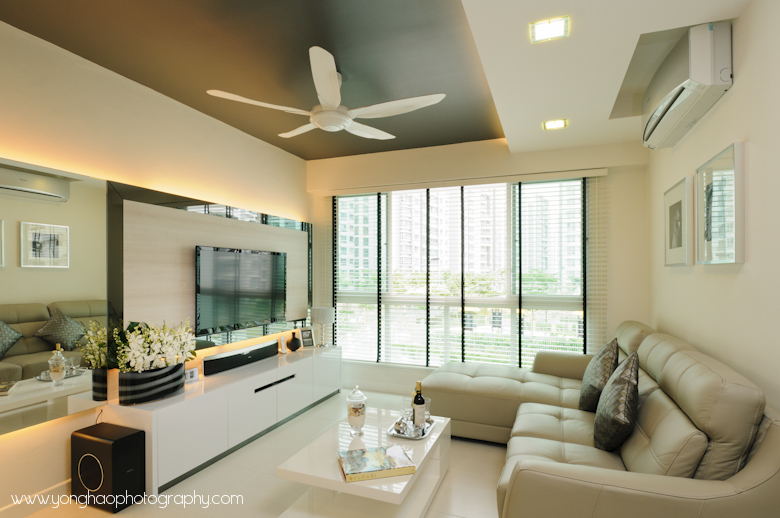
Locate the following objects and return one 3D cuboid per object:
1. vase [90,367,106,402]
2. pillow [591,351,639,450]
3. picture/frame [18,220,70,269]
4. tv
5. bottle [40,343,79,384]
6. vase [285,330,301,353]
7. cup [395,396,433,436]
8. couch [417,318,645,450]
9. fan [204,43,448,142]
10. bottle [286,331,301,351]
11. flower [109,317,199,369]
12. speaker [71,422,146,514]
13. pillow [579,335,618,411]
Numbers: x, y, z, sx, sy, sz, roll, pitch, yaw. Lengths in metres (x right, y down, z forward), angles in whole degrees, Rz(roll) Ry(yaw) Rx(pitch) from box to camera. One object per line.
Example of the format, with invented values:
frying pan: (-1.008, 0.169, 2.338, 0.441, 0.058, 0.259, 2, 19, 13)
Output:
vase: (-2.407, 1.051, 4.454, 0.160, 0.267, 0.160, -3, -6, 24)
pillow: (1.743, 1.120, 4.100, 0.220, 0.402, 0.616, 9, -39, 14)
picture/frame: (-2.710, -0.113, 4.121, 0.017, 0.436, 0.377, -6, -8, 31)
tv: (-1.547, 0.346, 5.691, 0.046, 0.853, 1.378, -1, -4, 27)
bottle: (-2.616, 0.829, 4.191, 0.277, 0.296, 0.269, -1, -4, -2)
vase: (-1.099, 0.963, 6.107, 0.192, 0.224, 0.191, -4, -5, 25)
cup: (0.221, 1.344, 4.481, 0.284, 0.316, 0.490, -2, -5, 17)
couch: (1.342, 1.224, 5.266, 1.709, 0.890, 1.234, -1, -3, 26)
fan: (-0.456, -1.303, 4.176, 1.352, 0.491, 1.145, -2, -2, -21)
bottle: (-1.089, 0.961, 6.123, 0.185, 0.214, 0.185, -3, -4, 6)
flower: (-2.025, 0.640, 4.526, 0.559, 0.324, 0.400, 5, -2, -43)
speaker: (-2.212, 1.675, 4.171, 0.365, 0.639, 0.659, 1, -3, -1)
pillow: (1.960, 1.132, 4.950, 0.300, 0.621, 0.813, 2, -12, 13)
